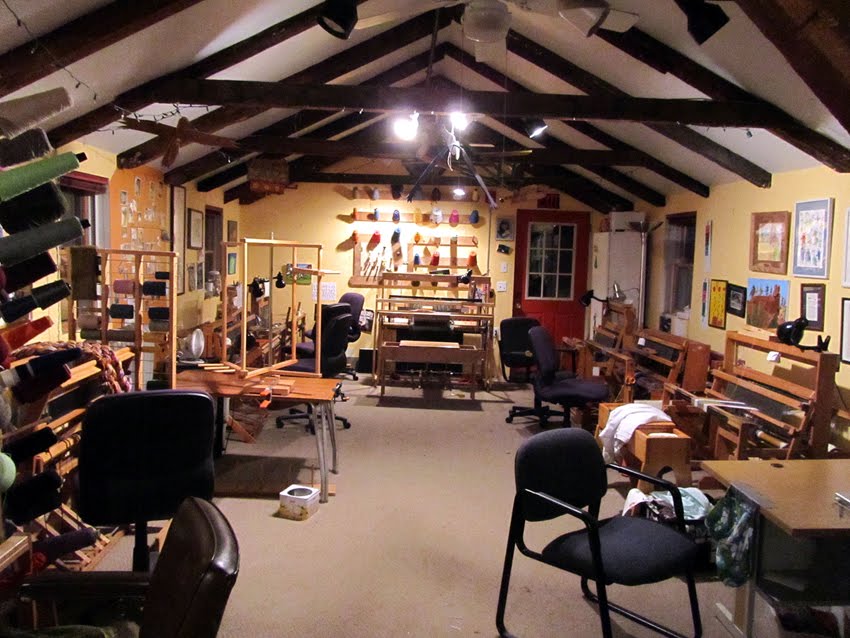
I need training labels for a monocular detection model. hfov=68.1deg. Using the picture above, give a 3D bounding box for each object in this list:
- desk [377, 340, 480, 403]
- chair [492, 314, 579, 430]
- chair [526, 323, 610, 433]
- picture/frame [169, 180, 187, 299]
[{"bbox_3d":[0.016,0.532,7.909,1.410,0.766,1.637,3,11,5],"label":"desk"},{"bbox_3d":[1.380,0.597,6.835,0.757,1.160,0.750,16,5,-21],"label":"chair"},{"bbox_3d":[1.425,0.568,6.190,0.797,0.924,0.748,7,9,22],"label":"chair"},{"bbox_3d":[-2.687,-0.857,6.860,0.170,1.165,0.677,-2,12,-19],"label":"picture/frame"}]
